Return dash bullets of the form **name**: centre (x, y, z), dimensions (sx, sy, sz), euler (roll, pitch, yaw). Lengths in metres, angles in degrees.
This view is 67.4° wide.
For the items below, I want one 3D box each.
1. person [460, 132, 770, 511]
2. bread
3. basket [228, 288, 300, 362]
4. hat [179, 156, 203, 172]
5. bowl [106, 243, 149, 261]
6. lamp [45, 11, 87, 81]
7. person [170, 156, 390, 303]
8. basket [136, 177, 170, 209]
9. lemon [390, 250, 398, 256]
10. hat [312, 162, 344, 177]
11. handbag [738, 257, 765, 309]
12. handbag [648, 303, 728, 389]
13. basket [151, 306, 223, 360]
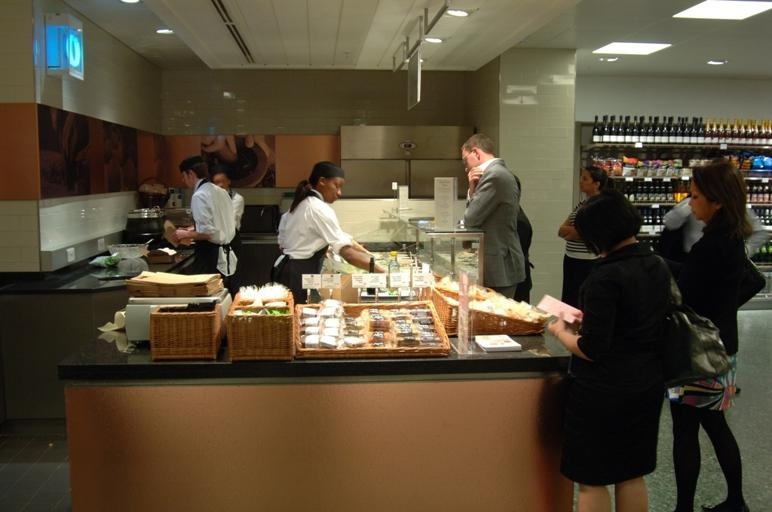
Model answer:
- **person**: centre (1.712, 0.585, 3.640), dimensions (1.370, 2.385, 0.822), euler (-4, 4, -43)
- **bread**: centre (-0.108, 0.429, 3.706), dimensions (0.893, 0.229, 0.610), euler (-1, 4, -7)
- **basket**: centre (-0.767, 0.415, 3.588), dimensions (0.400, 0.374, 0.488), euler (-1, 3, -10)
- **hat**: centre (-2.239, -1.035, 6.620), dimensions (0.249, 0.122, 0.334), euler (-1, 6, -19)
- **bowl**: centre (-2.598, -0.041, 5.780), dimensions (0.333, 0.124, 0.280), euler (-2, 4, -17)
- **lamp**: centre (-2.917, -1.919, 5.326), dimensions (0.199, 0.518, 0.360), euler (0, 3, 18)
- **person**: centre (-0.575, -0.195, 4.877), dimensions (0.978, 1.185, 0.375), euler (0, 3, 18)
- **basket**: centre (-3.012, -0.817, 7.460), dimensions (0.192, 0.376, 0.374), euler (1, 4, 33)
- **lemon**: centre (0.069, -0.024, 4.658), dimensions (0.045, 0.033, 0.031), euler (-3, -19, 29)
- **hat**: centre (-0.471, -0.727, 4.935), dimensions (0.181, 0.080, 0.183), euler (6, 6, 35)
- **handbag**: centre (2.510, 0.179, 3.975), dimensions (0.138, 0.328, 0.244), euler (2, -8, 30)
- **handbag**: centre (1.772, 0.512, 3.455), dimensions (0.371, 0.639, 0.626), euler (-10, -9, 35)
- **basket**: centre (-1.172, 0.467, 3.392), dimensions (0.321, 0.234, 0.316), euler (1, 1, -7)
